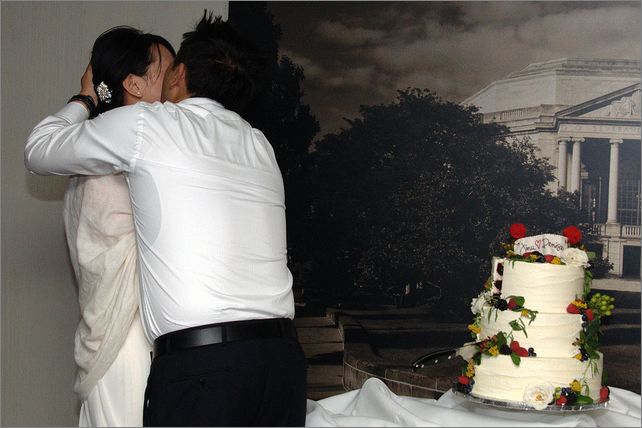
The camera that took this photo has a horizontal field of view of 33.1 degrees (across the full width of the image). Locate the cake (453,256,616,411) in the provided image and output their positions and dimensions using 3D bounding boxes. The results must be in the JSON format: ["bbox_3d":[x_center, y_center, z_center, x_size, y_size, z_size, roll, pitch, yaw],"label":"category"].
[{"bbox_3d":[1.762,0.952,8.937,1.314,1.053,1.284,3,3,-37],"label":"cake"}]
